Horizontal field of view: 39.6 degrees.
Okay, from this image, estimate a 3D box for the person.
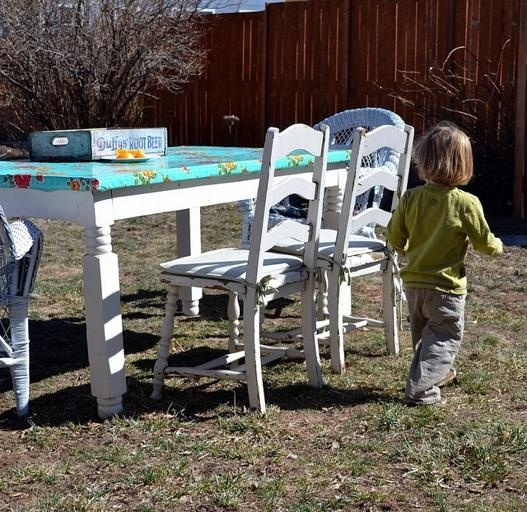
[{"bbox_3d":[0.755,0.018,3.113,0.411,1.147,0.356,-3,11,-9],"label":"person"}]
